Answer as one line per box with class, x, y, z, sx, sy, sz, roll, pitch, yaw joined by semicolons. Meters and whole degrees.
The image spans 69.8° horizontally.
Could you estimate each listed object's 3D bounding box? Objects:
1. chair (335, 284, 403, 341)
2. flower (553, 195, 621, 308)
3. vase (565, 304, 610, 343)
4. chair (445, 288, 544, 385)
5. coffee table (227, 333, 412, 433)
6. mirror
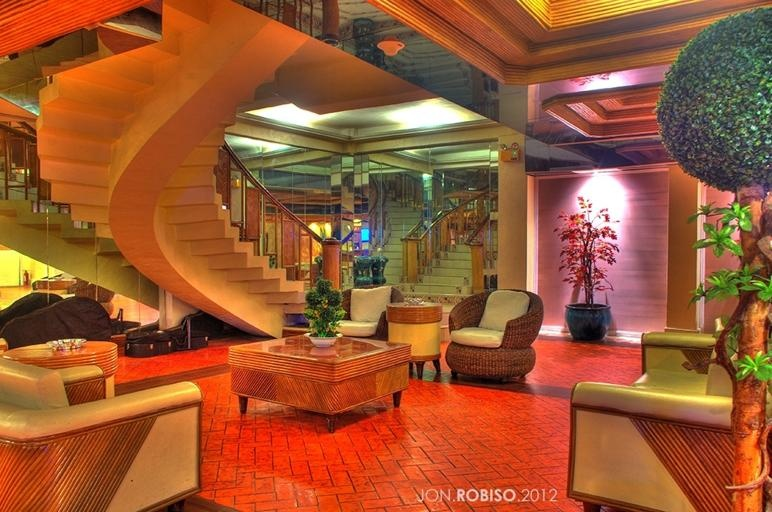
chair;-0.234;0.844;8.052;0.947;0.797;0.744;-3;-14;16
flower;3.702;-0.107;10.215;1.129;2.043;0.897;2;6;18
vase;3.640;1.162;9.893;0.746;0.473;0.761;-1;1;34
chair;1.440;0.973;7.357;1.315;1.005;1.334;-2;-4;44
coffee table;-0.415;1.201;5.900;1.195;0.462;1.180;0;-3;36
mirror;0.491;-0.759;12.747;6.509;2.678;3.219;1;2;17
